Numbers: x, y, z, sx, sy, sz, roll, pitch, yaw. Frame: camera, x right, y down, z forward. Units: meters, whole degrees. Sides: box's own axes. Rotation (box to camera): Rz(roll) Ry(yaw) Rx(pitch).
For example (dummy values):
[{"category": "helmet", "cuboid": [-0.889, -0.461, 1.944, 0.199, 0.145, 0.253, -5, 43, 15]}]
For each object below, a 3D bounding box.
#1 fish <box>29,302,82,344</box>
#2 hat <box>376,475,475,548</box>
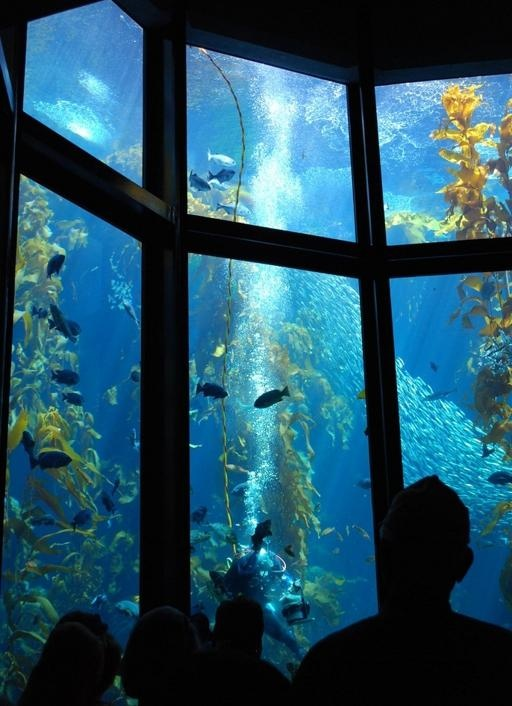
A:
[{"category": "fish", "cuboid": [-0.718, -0.105, 2.354, 0.054, 0.094, 0.191, 5, -29, 32]}, {"category": "hat", "cuboid": [0.449, 0.426, 1.725, 0.149, 0.183, 0.208, 4, -24, 34]}]
